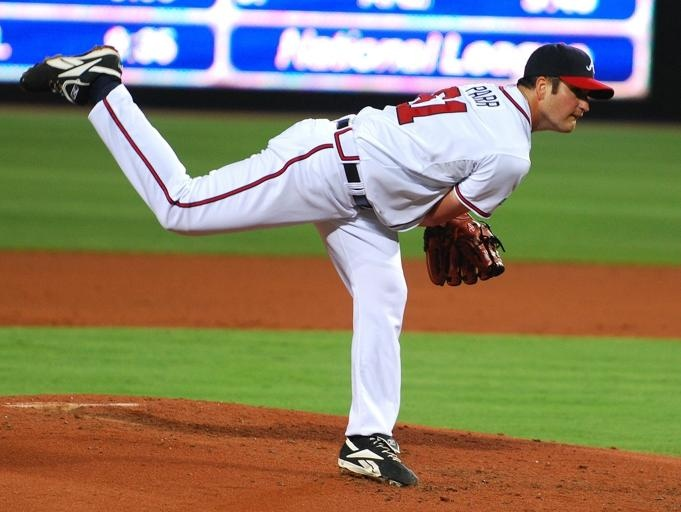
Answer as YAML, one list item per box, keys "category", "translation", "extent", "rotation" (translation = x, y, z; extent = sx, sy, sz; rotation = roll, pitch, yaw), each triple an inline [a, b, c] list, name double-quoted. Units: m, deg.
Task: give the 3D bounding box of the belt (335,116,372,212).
- category: "belt"
  translation: [0.057, -0.508, 6.257]
  extent: [0.137, 0.407, 0.330]
  rotation: [-5, 18, -2]

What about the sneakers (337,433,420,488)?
- category: "sneakers"
  translation: [0.221, 1.101, 6.239]
  extent: [0.541, 0.243, 0.188]
  rotation: [8, 9, 42]

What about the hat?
- category: "hat"
  translation: [1.325, -1.064, 6.327]
  extent: [0.524, 0.251, 0.328]
  rotation: [17, 7, 24]
